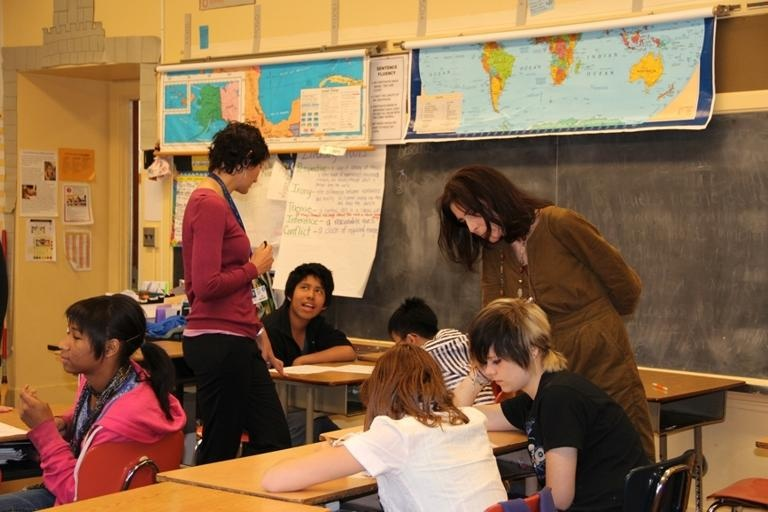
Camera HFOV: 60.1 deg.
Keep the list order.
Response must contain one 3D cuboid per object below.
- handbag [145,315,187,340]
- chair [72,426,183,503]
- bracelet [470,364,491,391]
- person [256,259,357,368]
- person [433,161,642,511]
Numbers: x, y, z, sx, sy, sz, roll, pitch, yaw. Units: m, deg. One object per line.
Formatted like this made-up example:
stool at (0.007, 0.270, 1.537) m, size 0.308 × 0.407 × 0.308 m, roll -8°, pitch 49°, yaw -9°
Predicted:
handbag at (-1.627, 0.541, 4.922) m, size 0.300 × 0.101 × 0.230 m, roll 1°, pitch 0°, yaw 18°
chair at (-1.008, 0.794, 2.656) m, size 0.244 × 0.338 × 0.283 m, roll 1°, pitch -3°, yaw 22°
bracelet at (0.422, 0.560, 2.996) m, size 0.122 × 0.086 × 0.110 m, roll 6°, pitch 2°, yaw 1°
person at (-0.563, 0.394, 4.501) m, size 0.688 × 0.707 × 0.694 m, roll 1°, pitch -5°, yaw 19°
person at (0.823, 0.431, 3.124) m, size 0.744 × 1.785 × 0.634 m, roll -16°, pitch -8°, yaw 25°
